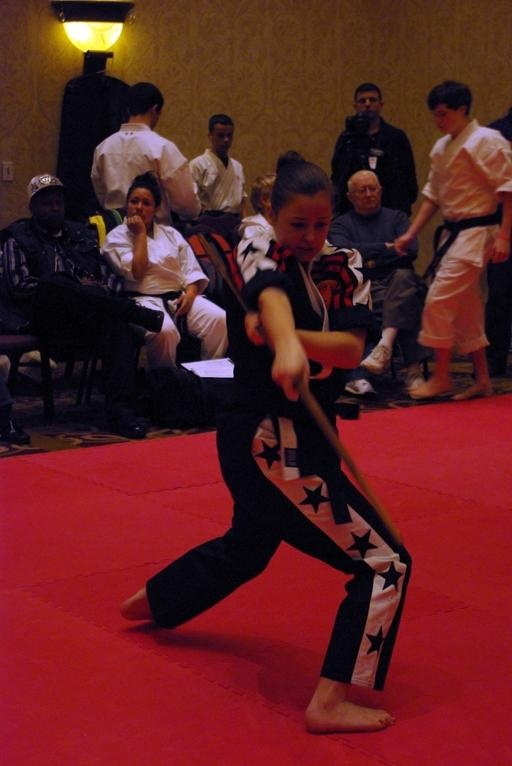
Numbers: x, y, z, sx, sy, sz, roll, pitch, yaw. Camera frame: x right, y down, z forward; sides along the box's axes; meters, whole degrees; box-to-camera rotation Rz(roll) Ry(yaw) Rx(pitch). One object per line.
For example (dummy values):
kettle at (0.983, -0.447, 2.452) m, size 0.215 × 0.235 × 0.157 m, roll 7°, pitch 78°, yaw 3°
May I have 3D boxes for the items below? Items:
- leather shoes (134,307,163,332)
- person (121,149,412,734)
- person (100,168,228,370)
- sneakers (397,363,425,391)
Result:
leather shoes at (-0.595, -0.352, 3.683) m, size 0.126 × 0.133 × 0.151 m, roll 4°, pitch -3°, yaw -41°
person at (-0.014, 0.073, 1.189) m, size 0.396 × 0.917 × 0.699 m, roll -9°, pitch 12°, yaw -38°
person at (-0.554, -0.589, 4.166) m, size 0.763 × 1.389 × 0.656 m, roll 9°, pitch 20°, yaw 40°
sneakers at (1.142, -0.032, 4.857) m, size 0.143 × 0.157 × 0.390 m, roll -14°, pitch -7°, yaw -10°
